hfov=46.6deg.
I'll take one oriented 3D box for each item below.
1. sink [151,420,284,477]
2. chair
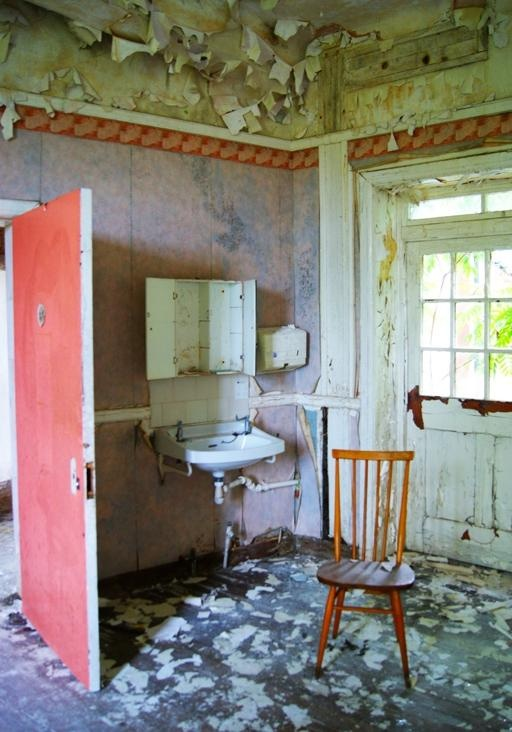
[{"bbox_3d":[-0.145,0.411,2.939,0.577,0.203,0.491,-3,4,-35],"label":"sink"},{"bbox_3d":[0.448,0.782,2.367,0.408,0.873,0.407,4,-11,4],"label":"chair"}]
